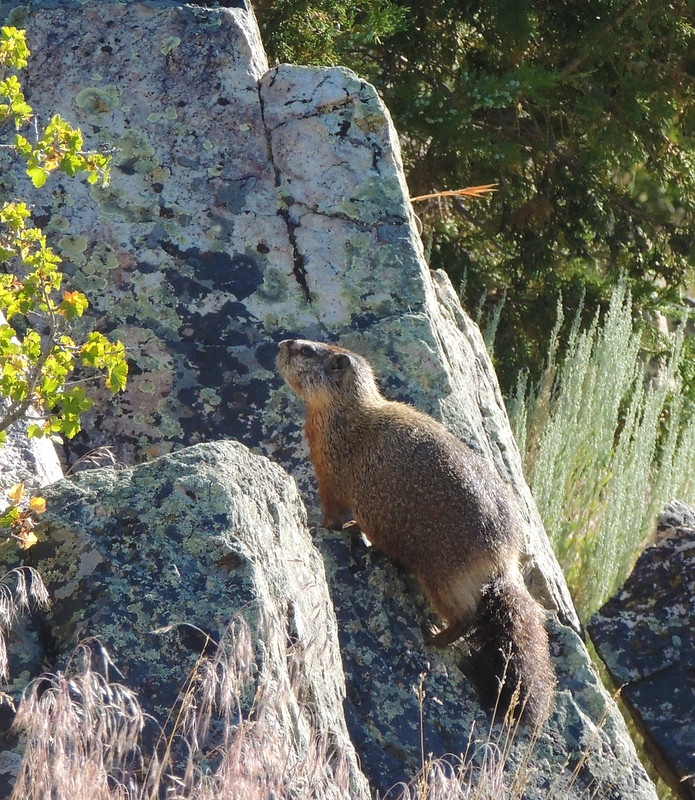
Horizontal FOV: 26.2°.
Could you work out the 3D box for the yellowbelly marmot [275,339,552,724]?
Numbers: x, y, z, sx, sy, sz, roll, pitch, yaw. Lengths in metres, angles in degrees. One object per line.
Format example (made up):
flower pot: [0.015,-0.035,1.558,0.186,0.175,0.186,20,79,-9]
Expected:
yellowbelly marmot: [0.282,0.477,6.208,0.550,0.741,1.819,-11,47,-48]
